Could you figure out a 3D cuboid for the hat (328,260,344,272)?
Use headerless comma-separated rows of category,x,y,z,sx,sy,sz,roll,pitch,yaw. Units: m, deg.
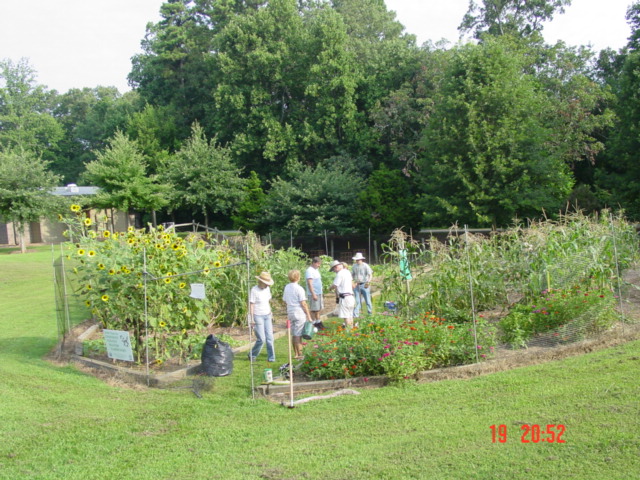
hat,0.397,0.620,14.992,0.284,0.092,0.311,-17,-17,-11

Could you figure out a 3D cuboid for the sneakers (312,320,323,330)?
sneakers,-0.035,2.031,14.763,0.236,0.252,0.289,-1,-5,12

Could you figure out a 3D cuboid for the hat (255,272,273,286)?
hat,-1.110,0.769,12.447,0.309,0.144,0.344,31,-4,-13

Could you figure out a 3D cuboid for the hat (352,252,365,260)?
hat,0.982,0.442,15.659,0.235,0.114,0.294,1,-4,18

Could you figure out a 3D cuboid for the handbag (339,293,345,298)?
handbag,0.493,1.242,13.770,0.089,0.069,0.088,-1,-1,-5
